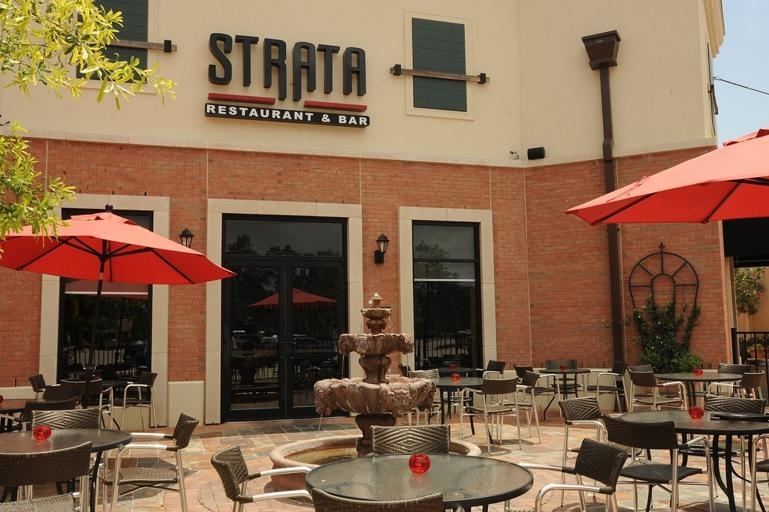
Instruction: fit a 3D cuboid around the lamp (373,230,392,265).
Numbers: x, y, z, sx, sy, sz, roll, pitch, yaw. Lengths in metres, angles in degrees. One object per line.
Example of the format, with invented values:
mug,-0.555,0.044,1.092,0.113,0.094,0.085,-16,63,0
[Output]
lamp,-0.062,-0.158,17.693,0.331,0.625,0.428,-2,-9,1
